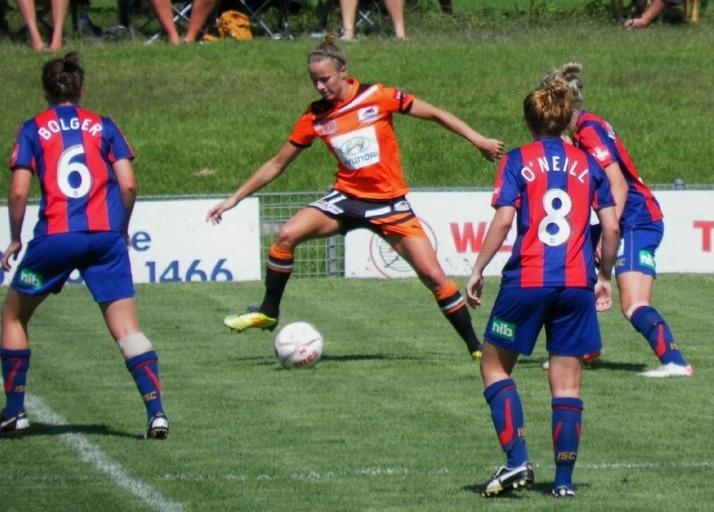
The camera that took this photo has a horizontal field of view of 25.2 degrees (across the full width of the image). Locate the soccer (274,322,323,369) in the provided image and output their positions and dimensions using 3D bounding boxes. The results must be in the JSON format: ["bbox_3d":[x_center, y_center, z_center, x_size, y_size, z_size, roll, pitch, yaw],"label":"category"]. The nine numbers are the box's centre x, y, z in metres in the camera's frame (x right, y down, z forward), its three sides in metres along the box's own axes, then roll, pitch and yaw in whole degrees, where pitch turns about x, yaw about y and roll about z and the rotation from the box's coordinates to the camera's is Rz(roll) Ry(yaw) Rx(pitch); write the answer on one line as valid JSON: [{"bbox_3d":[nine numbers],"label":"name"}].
[{"bbox_3d":[-0.720,1.157,20.071,0.563,0.569,0.555,14,-39,-17],"label":"soccer"}]
